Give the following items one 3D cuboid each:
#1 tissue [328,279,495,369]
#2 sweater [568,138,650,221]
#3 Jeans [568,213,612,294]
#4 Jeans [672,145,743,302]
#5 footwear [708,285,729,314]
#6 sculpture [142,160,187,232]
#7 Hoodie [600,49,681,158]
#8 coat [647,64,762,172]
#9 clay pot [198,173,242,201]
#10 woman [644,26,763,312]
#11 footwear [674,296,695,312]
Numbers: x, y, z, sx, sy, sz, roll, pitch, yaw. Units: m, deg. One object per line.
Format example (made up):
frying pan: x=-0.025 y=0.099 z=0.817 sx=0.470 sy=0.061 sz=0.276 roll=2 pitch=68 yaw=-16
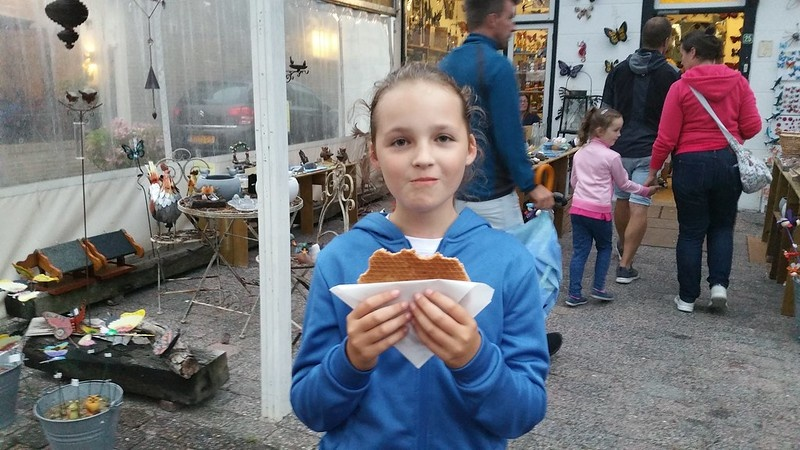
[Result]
tissue: x=0.072 y=0.473 z=2.439 sx=0.505 sy=0.311 sz=0.067 roll=-4 pitch=6 yaw=-3
sweater: x=2.368 y=-0.532 z=5.826 sx=0.733 sy=0.912 sz=0.462 roll=2 pitch=15 yaw=19
Jeans: x=2.222 y=0.271 z=5.915 sx=0.523 sy=1.189 sz=0.393 roll=0 pitch=5 yaw=11
Jeans: x=3.465 y=-0.025 z=5.746 sx=0.802 sy=1.763 sz=0.651 roll=0 pitch=0 yaw=15
footwear: x=3.642 y=0.869 z=5.756 sx=0.163 sy=0.365 sz=0.155 roll=2 pitch=46 yaw=22
sculpture: x=-2.884 y=-0.380 z=6.098 sx=0.347 sy=0.798 sz=0.862 roll=-6 pitch=13 yaw=-38
Hoodie: x=3.267 y=-1.677 z=6.822 sx=1.136 sy=1.415 sz=0.564 roll=24 pitch=41 yaw=37
coat: x=3.300 y=-1.272 z=5.900 sx=1.386 sy=1.383 sz=0.964 roll=-3 pitch=16 yaw=10
clay pot: x=-2.136 y=-0.447 z=5.949 sx=0.463 sy=0.289 sz=0.356 roll=-8 pitch=14 yaw=-20
woman: x=3.508 y=-0.602 z=5.925 sx=1.238 sy=3.066 sz=1.197 roll=1 pitch=4 yaw=21
footwear: x=3.307 y=0.924 z=5.841 sx=0.118 sy=0.113 sz=0.267 roll=2 pitch=10 yaw=15
